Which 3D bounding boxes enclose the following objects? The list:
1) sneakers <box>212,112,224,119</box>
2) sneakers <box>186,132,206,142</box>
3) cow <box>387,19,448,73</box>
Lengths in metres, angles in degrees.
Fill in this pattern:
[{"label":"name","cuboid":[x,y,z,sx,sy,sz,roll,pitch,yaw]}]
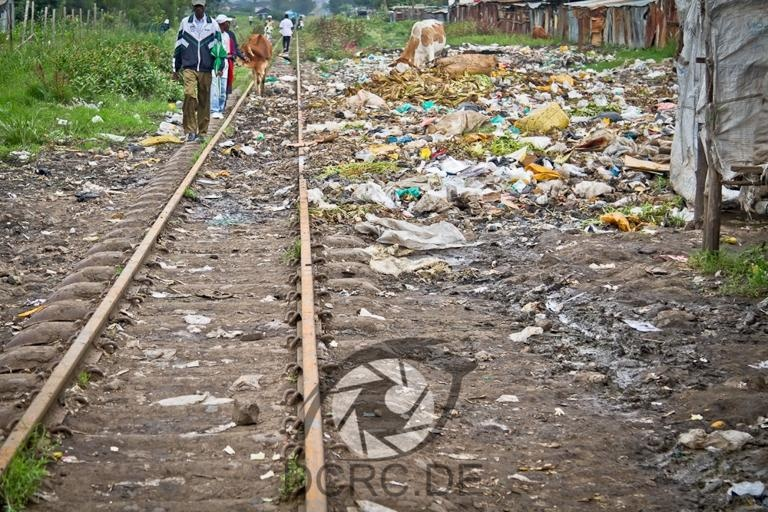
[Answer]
[{"label":"sneakers","cuboid":[-3.843,-3.261,15.470,0.429,0.127,0.108,-10,36,-15]},{"label":"sneakers","cuboid":[-3.724,-2.322,13.221,0.212,0.182,0.523,-2,-5,5]},{"label":"cow","cuboid":[1.228,-6.950,21.842,1.457,1.620,1.454,-1,12,3]}]
